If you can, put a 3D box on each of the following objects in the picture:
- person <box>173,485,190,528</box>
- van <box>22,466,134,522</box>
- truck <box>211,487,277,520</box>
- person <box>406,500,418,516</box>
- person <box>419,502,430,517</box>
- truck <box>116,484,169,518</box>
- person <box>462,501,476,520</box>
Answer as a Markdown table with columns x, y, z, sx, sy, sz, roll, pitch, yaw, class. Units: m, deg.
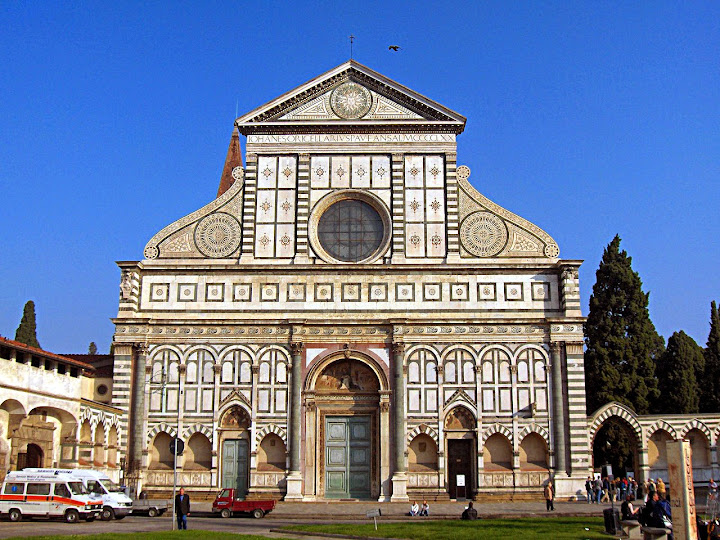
| x | y | z | sx | sy | sz | roll | pitch | yaw | class |
| --- | --- | --- | --- | --- | --- | --- | --- | --- | --- |
| -7.209 | 9.657 | 39.968 | 0.551 | 1.634 | 1.859 | 3 | -15 | -10 | person |
| -11.605 | 10.090 | 45.053 | 4.342 | 2.193 | 2.330 | -3 | -12 | 6 | van |
| -5.380 | 10.889 | 46.225 | 2.497 | 1.219 | 1.361 | 3 | -27 | 0 | truck |
| 2.475 | 11.356 | 46.915 | 0.621 | 0.964 | 0.473 | -2 | -14 | 12 | person |
| 3.052 | 11.404 | 47.116 | 0.443 | 0.612 | 1.380 | 1 | -10 | 2 | person |
| -10.515 | 10.917 | 47.431 | 2.760 | 1.362 | 1.707 | 0 | -26 | 8 | truck |
| 4.895 | 10.843 | 44.559 | 0.612 | 1.244 | 0.794 | -1 | -8 | 1 | person |
